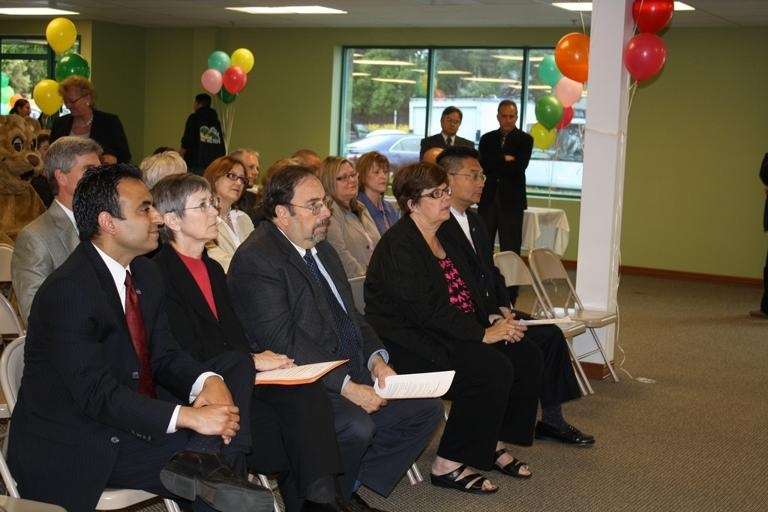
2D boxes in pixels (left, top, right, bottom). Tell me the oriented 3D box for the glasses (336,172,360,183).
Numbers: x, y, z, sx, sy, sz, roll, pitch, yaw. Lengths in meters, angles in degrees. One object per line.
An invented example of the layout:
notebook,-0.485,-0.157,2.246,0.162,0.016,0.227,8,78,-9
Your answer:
glasses,-0.292,-0.626,4.671,0.100,0.032,0.102,-21,-9,36

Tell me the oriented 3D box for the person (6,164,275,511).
person,-1.053,0.303,2.412,0.948,1.329,0.556,-1,10,-15

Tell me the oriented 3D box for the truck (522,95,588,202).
truck,3.207,-1.785,10.625,1.503,1.958,0.587,3,6,21

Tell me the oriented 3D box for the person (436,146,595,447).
person,0.890,0.423,4.078,1.283,2.364,0.889,8,22,19

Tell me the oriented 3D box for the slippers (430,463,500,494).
slippers,0.473,1.324,3.487,0.366,0.161,0.155,-1,0,6

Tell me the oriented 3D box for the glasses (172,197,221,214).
glasses,-0.916,-0.251,2.853,0.118,0.037,0.116,-12,1,15

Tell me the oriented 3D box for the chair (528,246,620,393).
chair,1.618,0.530,5.156,0.599,1.162,0.712,-10,12,-40

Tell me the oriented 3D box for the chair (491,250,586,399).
chair,1.613,0.520,5.076,0.767,1.184,0.622,12,13,28

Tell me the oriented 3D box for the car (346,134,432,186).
car,0.436,-2.064,12.085,2.260,0.783,1.018,-9,10,-29

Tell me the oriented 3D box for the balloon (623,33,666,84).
balloon,2.327,-1.801,5.218,0.466,0.418,0.227,-8,14,-44

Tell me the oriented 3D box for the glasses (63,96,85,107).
glasses,-2.717,-1.365,5.148,0.106,0.060,0.137,-2,2,29

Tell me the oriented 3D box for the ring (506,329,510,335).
ring,0.731,0.451,3.446,0.021,0.033,0.007,-2,11,-22
